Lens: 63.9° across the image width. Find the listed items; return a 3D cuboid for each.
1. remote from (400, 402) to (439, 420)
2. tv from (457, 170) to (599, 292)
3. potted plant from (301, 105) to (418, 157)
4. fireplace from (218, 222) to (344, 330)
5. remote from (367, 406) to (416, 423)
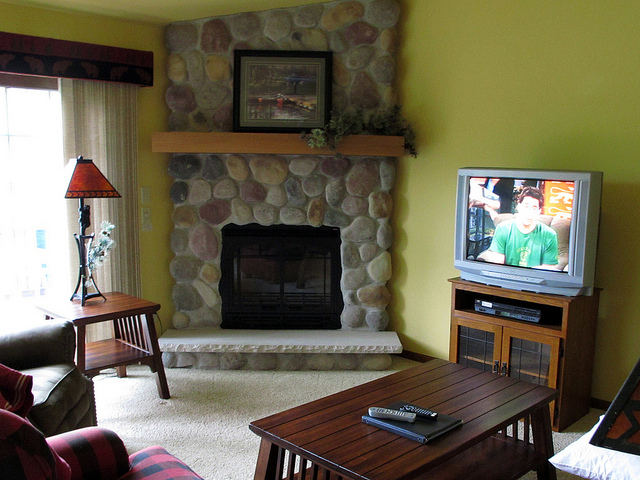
[{"bbox_3d":[0.507,0.866,2.601,0.130,0.024,0.071,11,-2,17],"label":"remote"},{"bbox_3d":[1.487,-0.071,3.574,0.882,0.731,0.291,3,8,32],"label":"tv"},{"bbox_3d":[0.332,-0.935,4.120,0.766,0.468,0.366,2,-19,-1],"label":"potted plant"},{"bbox_3d":[-0.344,0.321,4.756,1.093,0.880,0.371,0,2,-1],"label":"fireplace"},{"bbox_3d":[0.354,0.859,2.586,0.269,0.061,0.077,5,5,7],"label":"remote"}]
